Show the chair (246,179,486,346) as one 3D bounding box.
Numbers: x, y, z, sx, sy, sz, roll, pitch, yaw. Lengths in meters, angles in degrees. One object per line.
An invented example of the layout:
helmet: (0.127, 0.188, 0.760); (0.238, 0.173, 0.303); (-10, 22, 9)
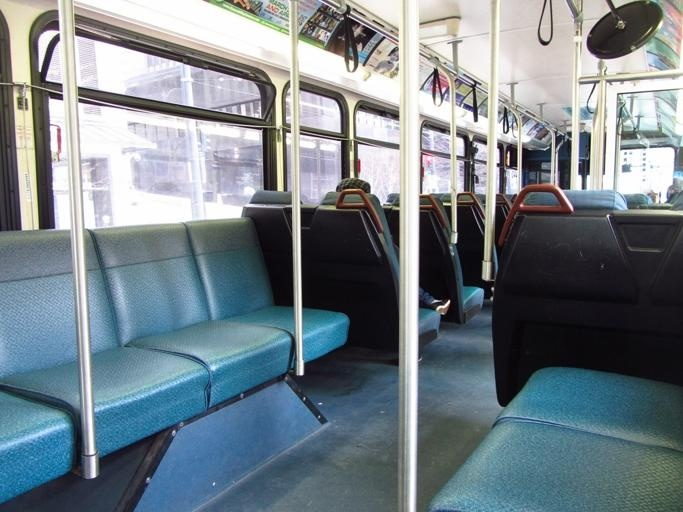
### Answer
chair: (0.181, 0.048, 3.295); (1.059, 0.824, 1.096); (5, 5, 33)

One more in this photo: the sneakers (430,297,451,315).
sneakers: (0.683, 0.345, 3.409); (0.110, 0.079, 0.144); (-1, 2, -21)

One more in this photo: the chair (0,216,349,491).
chair: (-0.724, 0.421, 2.135); (0.521, 0.479, 1.226); (5, 6, 34)
